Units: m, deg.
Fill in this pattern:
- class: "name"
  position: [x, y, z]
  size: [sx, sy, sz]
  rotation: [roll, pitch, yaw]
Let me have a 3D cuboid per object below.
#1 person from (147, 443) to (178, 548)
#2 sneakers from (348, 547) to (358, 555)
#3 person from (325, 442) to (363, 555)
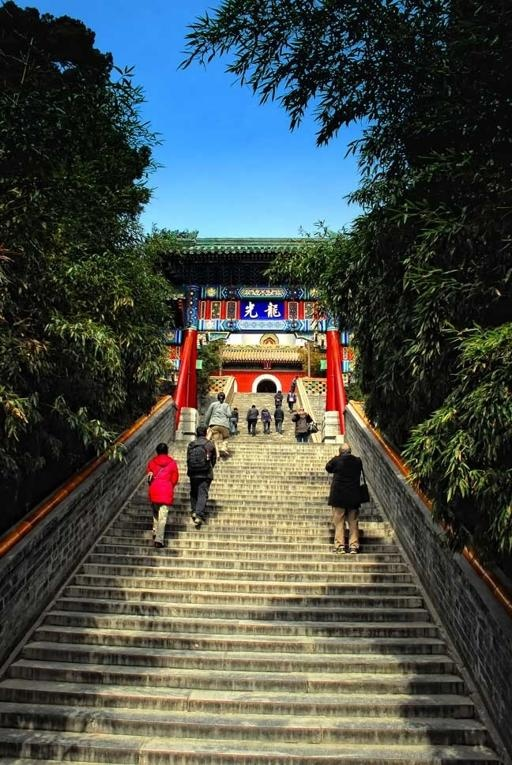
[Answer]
- class: "person"
  position: [-1.039, 1.239, 5.720]
  size: [0.312, 1.067, 0.922]
  rotation: [-2, 10, -13]
- class: "sneakers"
  position: [1.018, 1.739, 5.275]
  size: [0.101, 0.070, 0.077]
  rotation: [3, 10, 13]
- class: "person"
  position: [0.953, 1.236, 5.419]
  size: [0.374, 1.050, 0.507]
  rotation: [1, 9, 1]
